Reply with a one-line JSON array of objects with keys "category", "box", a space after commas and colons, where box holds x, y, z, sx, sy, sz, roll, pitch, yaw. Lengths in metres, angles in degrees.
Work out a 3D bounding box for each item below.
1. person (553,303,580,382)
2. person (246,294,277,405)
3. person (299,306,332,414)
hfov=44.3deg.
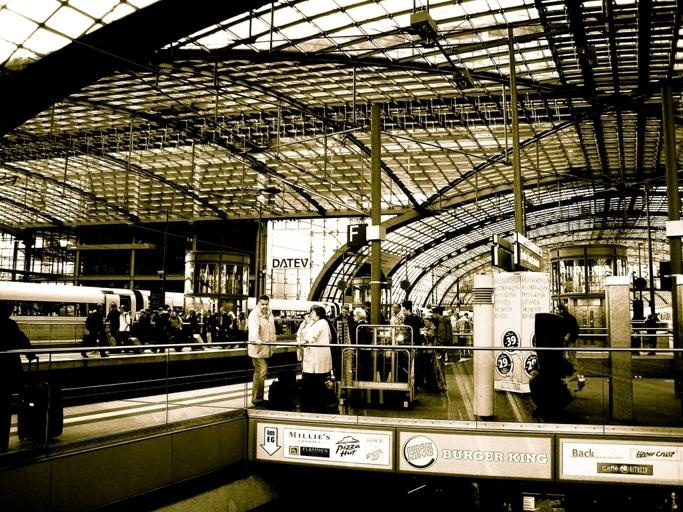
[{"category": "person", "box": [6.098, 1.813, 22.766, 0.418, 0.657, 2.201, -16, 10, 11]}, {"category": "person", "box": [-2.268, 2.581, 23.545, 0.773, 3.100, 1.376, -2, 6, -5]}, {"category": "person", "box": [-0.712, 2.747, 22.922, 0.793, 2.737, 1.205, -1, 6, 4]}]
